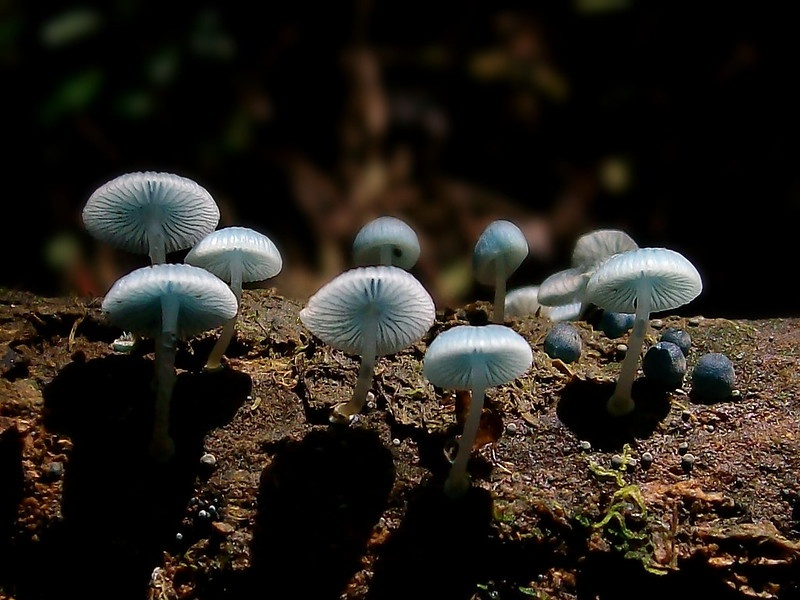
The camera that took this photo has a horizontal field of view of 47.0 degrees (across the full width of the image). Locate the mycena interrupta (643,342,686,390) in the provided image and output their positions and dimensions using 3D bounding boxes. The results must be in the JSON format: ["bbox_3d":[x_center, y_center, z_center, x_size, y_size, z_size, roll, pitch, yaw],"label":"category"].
[{"bbox_3d":[1.583,0.383,5.493,0.233,0.276,0.231,-4,7,13],"label":"mycena interrupta"}]

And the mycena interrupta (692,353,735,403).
[{"bbox_3d":[1.851,0.431,5.452,0.268,0.283,0.268,4,28,19],"label":"mycena interrupta"}]
